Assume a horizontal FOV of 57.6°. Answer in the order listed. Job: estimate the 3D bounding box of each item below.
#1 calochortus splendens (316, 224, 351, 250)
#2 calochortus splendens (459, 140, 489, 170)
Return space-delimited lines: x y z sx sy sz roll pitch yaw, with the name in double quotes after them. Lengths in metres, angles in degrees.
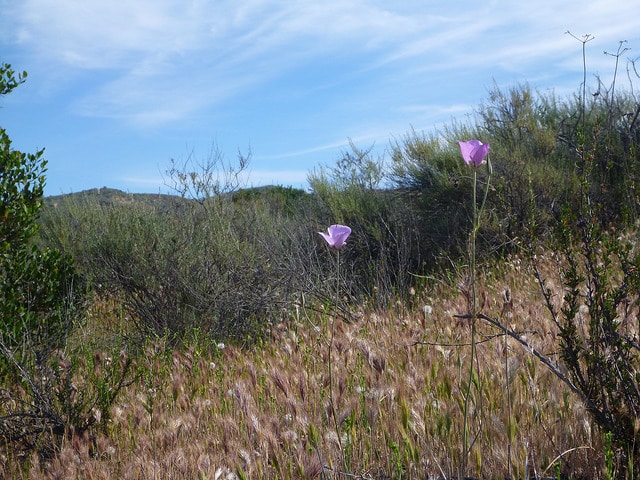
0.119 -0.030 4.250 0.163 0.176 0.226 2 -10 -3 "calochortus splendens"
1.059 -0.587 3.974 0.198 0.242 0.205 7 -3 -37 "calochortus splendens"
